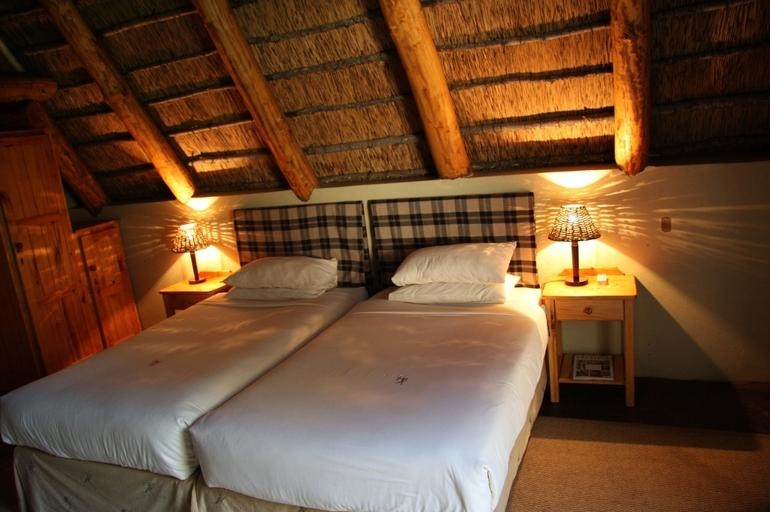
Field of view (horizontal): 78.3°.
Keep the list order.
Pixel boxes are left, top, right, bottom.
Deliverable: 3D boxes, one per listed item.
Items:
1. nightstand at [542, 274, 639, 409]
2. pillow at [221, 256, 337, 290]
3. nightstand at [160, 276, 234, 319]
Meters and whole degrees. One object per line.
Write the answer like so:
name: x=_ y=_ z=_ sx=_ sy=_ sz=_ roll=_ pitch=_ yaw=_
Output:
nightstand: x=1.561 y=0.593 z=3.552 sx=0.666 sy=0.723 sz=0.518 roll=-4 pitch=3 yaw=26
pillow: x=-0.932 y=0.095 z=4.311 sx=1.012 sy=0.278 sz=0.533 roll=0 pitch=32 yaw=17
nightstand: x=-1.876 y=0.347 z=4.756 sx=0.594 sy=0.490 sz=0.547 roll=0 pitch=12 yaw=6
